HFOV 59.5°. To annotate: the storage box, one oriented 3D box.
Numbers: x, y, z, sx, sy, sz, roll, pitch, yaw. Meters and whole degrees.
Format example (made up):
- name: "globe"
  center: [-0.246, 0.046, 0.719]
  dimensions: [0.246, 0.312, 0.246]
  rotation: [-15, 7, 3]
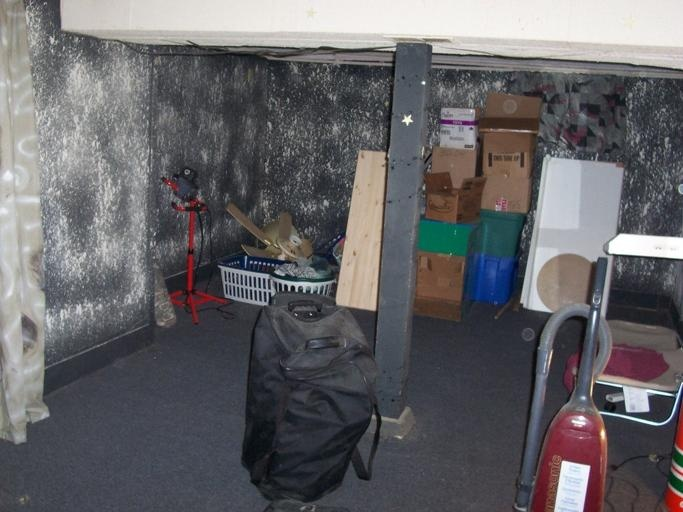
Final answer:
- name: "storage box"
  center: [1.331, -0.561, 6.120]
  dimensions: [1.331, 2.232, 0.848]
  rotation: [-9, 17, -44]
